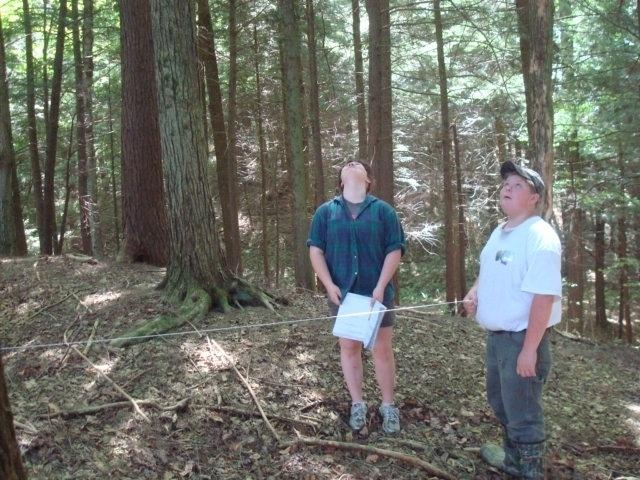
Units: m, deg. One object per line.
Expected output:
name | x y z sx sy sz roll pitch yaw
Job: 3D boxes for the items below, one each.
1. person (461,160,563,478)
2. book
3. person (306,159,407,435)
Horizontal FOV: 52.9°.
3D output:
person | 2.660 1.098 8.683 1.090 4.296 0.630 0 7 22
book | 0.556 1.124 8.894 0.745 0.758 0.240 -2 6 3
person | 0.580 0.816 9.140 1.260 3.822 0.600 -1 6 8
